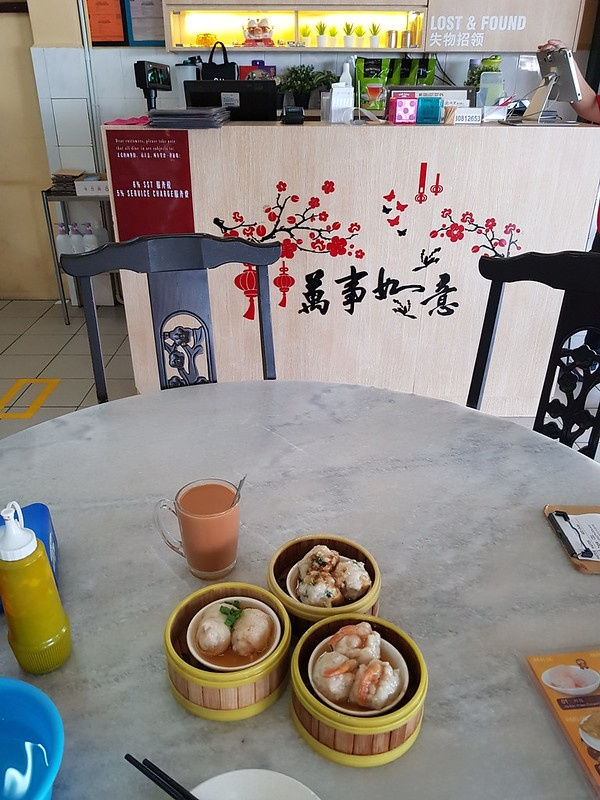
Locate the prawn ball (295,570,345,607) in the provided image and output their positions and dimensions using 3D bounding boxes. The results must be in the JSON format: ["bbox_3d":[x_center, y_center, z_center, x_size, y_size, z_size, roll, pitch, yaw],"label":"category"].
[{"bbox_3d":[0.022,0.204,0.621,0.037,0.012,0.038,3,28,-1],"label":"prawn ball"}]

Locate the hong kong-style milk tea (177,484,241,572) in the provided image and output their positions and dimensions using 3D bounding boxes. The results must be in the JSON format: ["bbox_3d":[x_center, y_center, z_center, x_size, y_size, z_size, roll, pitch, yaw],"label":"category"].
[{"bbox_3d":[-0.107,0.158,0.712,0.089,0.108,0.083,5,23,5],"label":"hong kong-style milk tea"}]

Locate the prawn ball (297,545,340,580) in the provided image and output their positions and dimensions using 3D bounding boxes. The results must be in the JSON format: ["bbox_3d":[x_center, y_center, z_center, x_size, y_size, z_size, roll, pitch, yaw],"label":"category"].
[{"bbox_3d":[0.021,0.181,0.650,0.034,0.015,0.042,15,37,24],"label":"prawn ball"}]

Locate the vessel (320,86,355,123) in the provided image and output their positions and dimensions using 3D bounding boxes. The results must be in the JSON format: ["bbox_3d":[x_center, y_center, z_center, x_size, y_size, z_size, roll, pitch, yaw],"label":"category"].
[{"bbox_3d":[0.162,-1.266,2.487,0.131,0.160,0.288,3,26,1],"label":"vessel"}]

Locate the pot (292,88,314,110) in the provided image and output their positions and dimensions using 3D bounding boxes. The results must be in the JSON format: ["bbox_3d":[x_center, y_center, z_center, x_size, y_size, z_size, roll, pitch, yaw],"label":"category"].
[{"bbox_3d":[0.010,-1.894,3.679,0.111,0.110,0.175,1,26,-1],"label":"pot"}]

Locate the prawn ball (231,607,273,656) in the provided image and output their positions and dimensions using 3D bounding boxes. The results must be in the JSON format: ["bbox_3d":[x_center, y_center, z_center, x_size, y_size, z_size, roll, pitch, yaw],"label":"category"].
[{"bbox_3d":[-0.048,0.230,0.573,0.035,0.023,0.044,8,45,5],"label":"prawn ball"}]

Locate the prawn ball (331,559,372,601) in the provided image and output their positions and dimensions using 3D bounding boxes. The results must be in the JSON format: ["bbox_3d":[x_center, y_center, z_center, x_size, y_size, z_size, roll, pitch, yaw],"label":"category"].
[{"bbox_3d":[0.059,0.195,0.631,0.034,0.015,0.043,-6,34,-18],"label":"prawn ball"}]

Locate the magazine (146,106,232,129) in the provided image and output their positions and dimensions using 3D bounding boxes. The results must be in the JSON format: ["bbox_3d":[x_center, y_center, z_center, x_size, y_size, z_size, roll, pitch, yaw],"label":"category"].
[{"bbox_3d":[-0.400,-1.095,2.267,0.340,0.087,0.241,-9,28,-22],"label":"magazine"}]

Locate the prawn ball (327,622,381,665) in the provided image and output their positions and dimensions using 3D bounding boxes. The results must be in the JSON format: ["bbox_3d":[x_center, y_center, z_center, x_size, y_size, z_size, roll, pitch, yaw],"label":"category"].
[{"bbox_3d":[0.054,0.231,0.551,0.038,0.012,0.028,-3,38,-11],"label":"prawn ball"}]
